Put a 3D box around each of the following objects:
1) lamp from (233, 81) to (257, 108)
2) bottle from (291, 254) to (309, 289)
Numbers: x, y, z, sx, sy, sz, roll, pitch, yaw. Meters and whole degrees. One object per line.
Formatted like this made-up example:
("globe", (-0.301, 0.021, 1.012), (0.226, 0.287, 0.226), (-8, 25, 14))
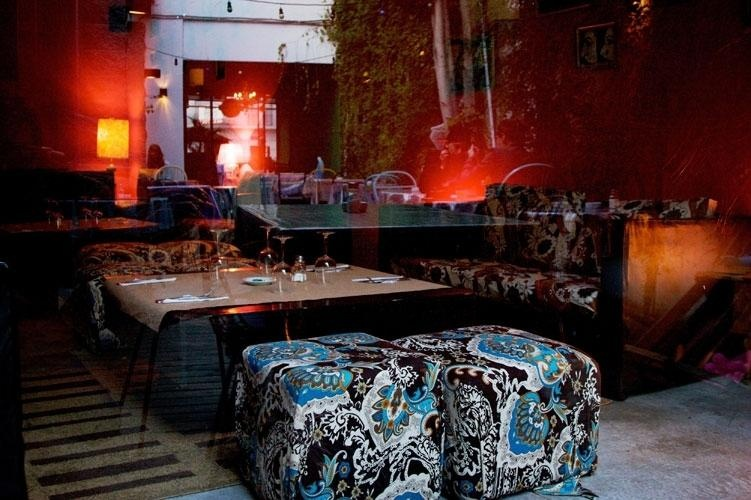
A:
("lamp", (-0.555, -0.667, 2.528), (0.098, 0.122, 0.080), (-8, 15, -36))
("bottle", (-0.358, 0.101, 2.771), (0.104, 0.194, 0.103), (1, -1, 0))
